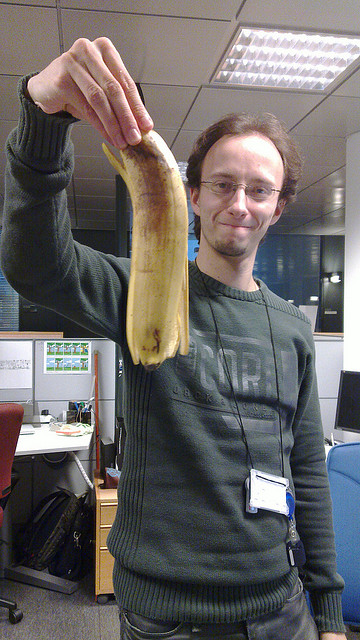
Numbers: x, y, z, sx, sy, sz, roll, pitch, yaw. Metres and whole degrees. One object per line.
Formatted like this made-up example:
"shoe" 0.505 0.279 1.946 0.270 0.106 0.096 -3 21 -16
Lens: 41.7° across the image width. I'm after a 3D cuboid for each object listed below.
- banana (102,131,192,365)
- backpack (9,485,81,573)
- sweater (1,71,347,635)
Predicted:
"banana" -0.035 -0.078 0.481 0.099 0.241 0.115 3 3 1
"backpack" -0.783 1.293 2.875 0.321 0.530 0.388 25 -15 -4
"sweater" 0.033 0.113 0.791 0.637 0.830 0.296 2 3 -24
